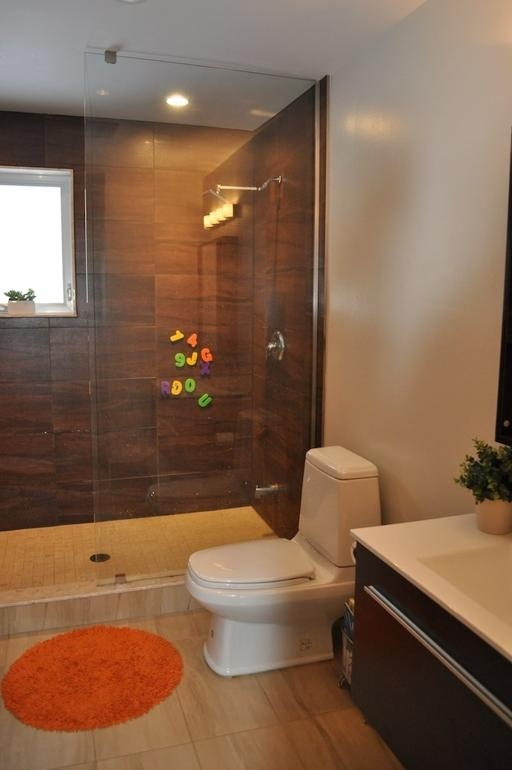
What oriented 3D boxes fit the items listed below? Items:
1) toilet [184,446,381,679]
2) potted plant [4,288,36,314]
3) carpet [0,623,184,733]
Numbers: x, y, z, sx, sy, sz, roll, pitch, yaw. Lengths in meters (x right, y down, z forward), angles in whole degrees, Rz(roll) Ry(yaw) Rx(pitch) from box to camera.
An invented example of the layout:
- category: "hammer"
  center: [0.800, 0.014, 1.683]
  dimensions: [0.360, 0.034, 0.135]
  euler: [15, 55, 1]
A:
- category: "toilet"
  center: [0.092, 0.648, 2.451]
  dimensions: [0.809, 0.963, 0.590]
  euler: [0, 5, -14]
- category: "potted plant"
  center: [-1.288, -0.450, 3.109]
  dimensions: [0.142, 0.151, 0.135]
  euler: [-2, 8, -21]
- category: "carpet"
  center: [-0.580, 1.038, 2.028]
  dimensions: [0.622, 0.020, 0.532]
  euler: [1, 5, 3]
